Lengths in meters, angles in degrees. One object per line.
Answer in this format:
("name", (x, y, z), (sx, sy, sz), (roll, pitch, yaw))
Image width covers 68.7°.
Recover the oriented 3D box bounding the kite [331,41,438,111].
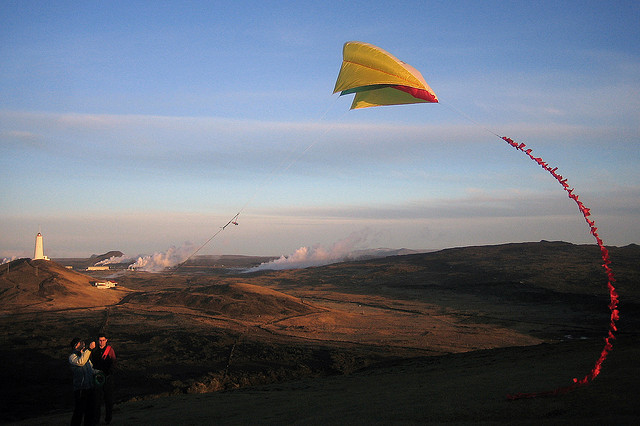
("kite", (2.916, -6.932, 23.132), (3.930, 2.901, 3.553), (2, -4, -14))
